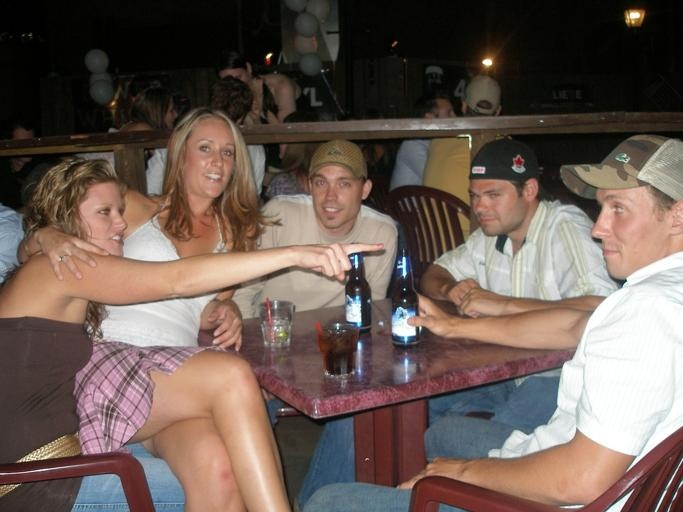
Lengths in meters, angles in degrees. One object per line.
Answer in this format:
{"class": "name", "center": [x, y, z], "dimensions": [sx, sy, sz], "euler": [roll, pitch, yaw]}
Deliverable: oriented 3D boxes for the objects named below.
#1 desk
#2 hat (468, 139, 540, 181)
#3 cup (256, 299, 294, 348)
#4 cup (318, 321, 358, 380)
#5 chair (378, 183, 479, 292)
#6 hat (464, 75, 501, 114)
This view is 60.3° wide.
{"class": "desk", "center": [0.126, 0.469, 2.185], "dimensions": [0.780, 0.492, 0.766], "euler": [-8, 13, -38]}
{"class": "hat", "center": [0.841, -0.476, 2.992], "dimensions": [0.254, 0.181, 0.250], "euler": [-5, 20, -12]}
{"class": "cup", "center": [-0.269, 0.256, 2.386], "dimensions": [0.167, 0.191, 0.169], "euler": [3, 12, -1]}
{"class": "cup", "center": [-0.007, 0.329, 2.078], "dimensions": [0.152, 0.169, 0.151], "euler": [-3, 8, 0]}
{"class": "chair", "center": [0.652, -0.263, 4.353], "dimensions": [0.654, 0.929, 0.668], "euler": [18, 32, 36]}
{"class": "hat", "center": [1.373, -1.596, 5.715], "dimensions": [0.313, 0.264, 0.446], "euler": [1, 40, 3]}
